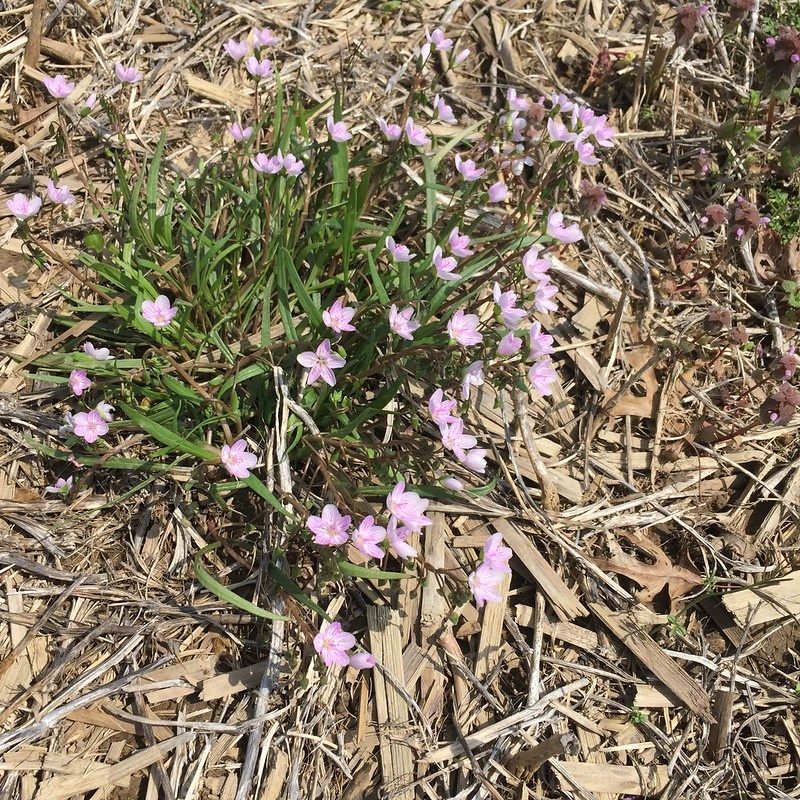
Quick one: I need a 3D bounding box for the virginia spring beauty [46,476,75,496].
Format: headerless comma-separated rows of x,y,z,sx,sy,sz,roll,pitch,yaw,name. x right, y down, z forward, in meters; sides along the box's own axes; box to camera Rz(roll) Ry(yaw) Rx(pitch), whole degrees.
-1.256,0.323,3.224,0.083,0.048,0.081,5,63,9,virginia spring beauty

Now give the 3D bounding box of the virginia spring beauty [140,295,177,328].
-0.810,-0.290,2.922,0.127,0.071,0.114,-15,84,-26,virginia spring beauty
